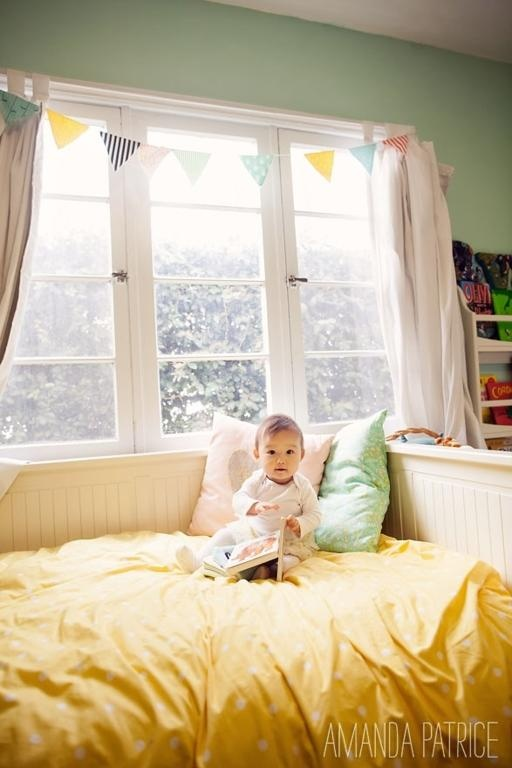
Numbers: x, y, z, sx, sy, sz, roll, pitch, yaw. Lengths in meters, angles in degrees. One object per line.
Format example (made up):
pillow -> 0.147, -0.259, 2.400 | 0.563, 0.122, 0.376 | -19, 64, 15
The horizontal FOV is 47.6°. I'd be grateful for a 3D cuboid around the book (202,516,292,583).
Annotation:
book -> -0.028, 0.381, 1.394 | 0.137, 0.130, 0.180 | -5, -2, -3
